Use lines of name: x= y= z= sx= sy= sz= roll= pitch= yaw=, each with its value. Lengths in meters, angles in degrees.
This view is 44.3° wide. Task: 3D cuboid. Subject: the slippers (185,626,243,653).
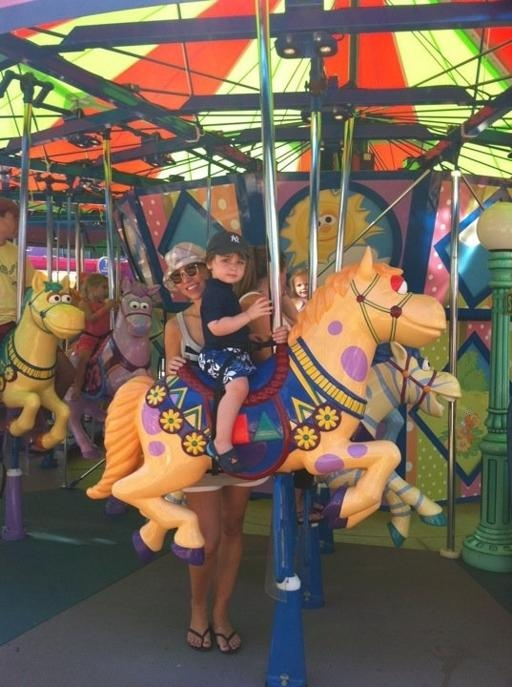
slippers: x=-0.173 y=1.211 z=2.581 sx=0.225 sy=0.067 sz=0.137 roll=0 pitch=1 yaw=0

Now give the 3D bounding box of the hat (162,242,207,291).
hat: x=-0.367 y=-0.400 z=3.071 sx=0.228 sy=0.136 sz=0.263 roll=-22 pitch=-12 yaw=-8

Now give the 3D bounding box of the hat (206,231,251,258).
hat: x=-0.107 y=-0.362 z=2.301 sx=0.100 sy=0.059 sz=0.126 roll=1 pitch=2 yaw=-24

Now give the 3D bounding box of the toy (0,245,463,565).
toy: x=0.019 y=0.241 z=2.219 sx=1.212 sy=1.148 sz=0.395 roll=1 pitch=2 yaw=18
